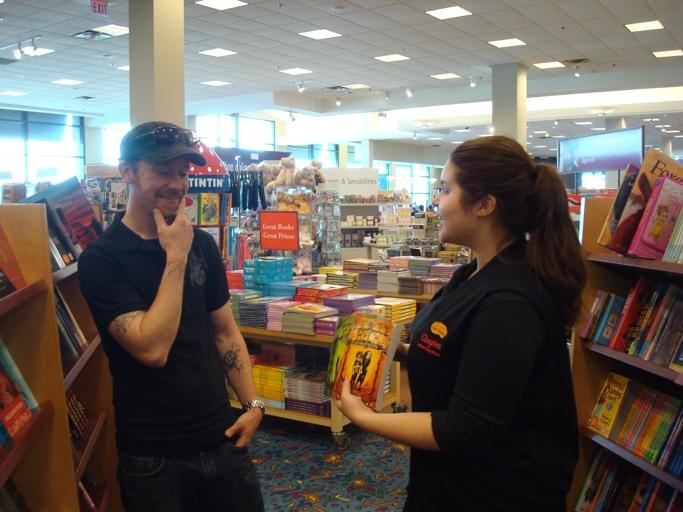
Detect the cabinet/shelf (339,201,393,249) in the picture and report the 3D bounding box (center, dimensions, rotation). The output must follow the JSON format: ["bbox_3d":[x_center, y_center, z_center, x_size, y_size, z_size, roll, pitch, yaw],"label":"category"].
[{"bbox_3d":[0.425,-0.571,9.102,1.024,0.867,0.334,-2,3,-35],"label":"cabinet/shelf"}]

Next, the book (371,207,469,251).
[{"bbox_3d":[1.015,-0.367,7.127,0.950,0.468,1.378,1,2,24],"label":"book"}]

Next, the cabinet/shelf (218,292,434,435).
[{"bbox_3d":[0.058,0.898,4.709,1.353,0.860,1.328,0,-1,34],"label":"cabinet/shelf"}]

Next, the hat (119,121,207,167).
[{"bbox_3d":[-0.708,-0.415,1.861,0.267,0.136,0.189,-3,-5,28],"label":"hat"}]
